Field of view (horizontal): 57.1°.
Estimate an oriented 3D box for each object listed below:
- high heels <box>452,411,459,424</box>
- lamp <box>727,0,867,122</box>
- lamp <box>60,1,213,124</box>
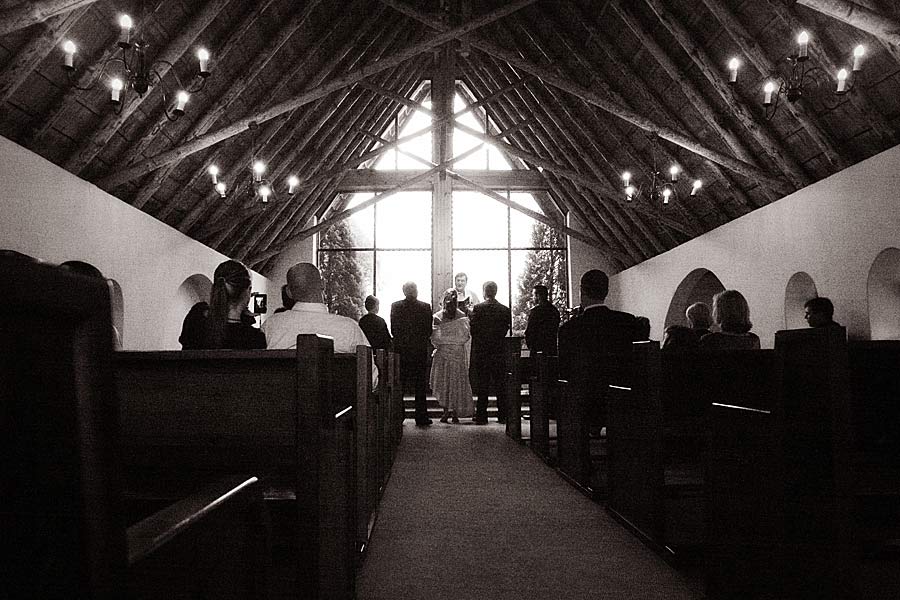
[{"bbox_3d":[0.061,1.291,9.144,0.062,0.130,0.127,2,1,17],"label":"high heels"},{"bbox_3d":[3.102,-2.049,7.447,1.178,0.736,1.125,8,-2,-10],"label":"lamp"},{"bbox_3d":[-2.729,-2.042,7.156,1.156,0.705,1.207,7,10,25],"label":"lamp"}]
